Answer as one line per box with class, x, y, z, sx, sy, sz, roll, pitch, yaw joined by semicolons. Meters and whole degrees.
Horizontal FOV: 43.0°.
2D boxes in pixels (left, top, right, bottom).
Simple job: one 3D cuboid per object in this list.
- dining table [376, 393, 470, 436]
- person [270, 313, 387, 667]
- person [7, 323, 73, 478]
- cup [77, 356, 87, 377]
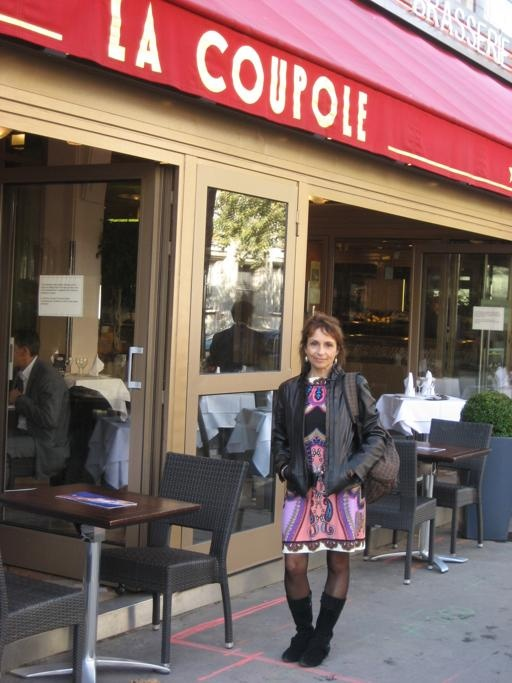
dining table;1.624;0.706;6.282;0.704;0.269;0.650;-2;8;-14
person;0.295;0.623;2.785;0.504;1.515;0.367;4;-6;9
person;-1.336;0.393;4.050;0.396;0.909;0.224;6;-6;-16
cup;-1.089;0.156;4.069;0.056;0.110;0.171;6;-6;-15
